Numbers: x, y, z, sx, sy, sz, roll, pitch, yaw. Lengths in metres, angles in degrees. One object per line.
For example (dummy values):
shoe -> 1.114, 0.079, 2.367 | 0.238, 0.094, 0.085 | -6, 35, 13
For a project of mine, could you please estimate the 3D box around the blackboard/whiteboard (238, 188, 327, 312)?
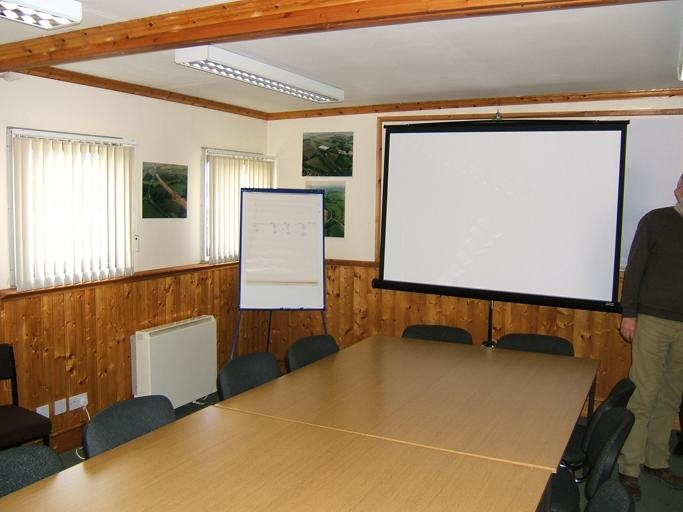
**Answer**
blackboard/whiteboard -> -0.704, -0.056, 5.679 | 1.375, 1.864, 0.140 | 0, 1, -9
